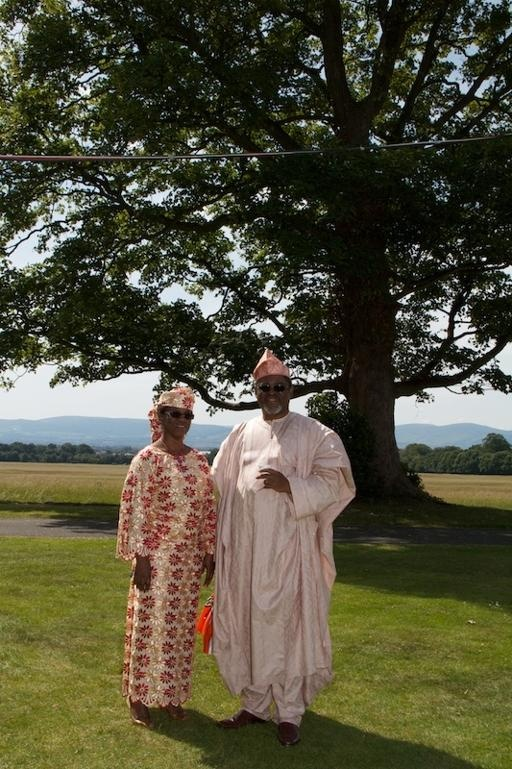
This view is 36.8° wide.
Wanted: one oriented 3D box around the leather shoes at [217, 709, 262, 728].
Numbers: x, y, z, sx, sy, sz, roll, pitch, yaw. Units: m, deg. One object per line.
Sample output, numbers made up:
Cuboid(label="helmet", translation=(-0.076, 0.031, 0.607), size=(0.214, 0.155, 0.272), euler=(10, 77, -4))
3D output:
Cuboid(label="leather shoes", translation=(-0.098, 2.095, 4.847), size=(0.304, 0.102, 0.100), euler=(3, -16, -5))

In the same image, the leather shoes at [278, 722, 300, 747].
Cuboid(label="leather shoes", translation=(0.202, 2.100, 4.670), size=(0.141, 0.069, 0.253), euler=(11, 7, 6))

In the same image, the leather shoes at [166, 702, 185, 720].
Cuboid(label="leather shoes", translation=(-0.506, 2.078, 4.903), size=(0.063, 0.099, 0.161), euler=(-4, -13, -45))

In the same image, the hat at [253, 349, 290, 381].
Cuboid(label="hat", translation=(0.105, -0.139, 5.376), size=(0.228, 0.205, 0.227), euler=(0, -13, 2))
